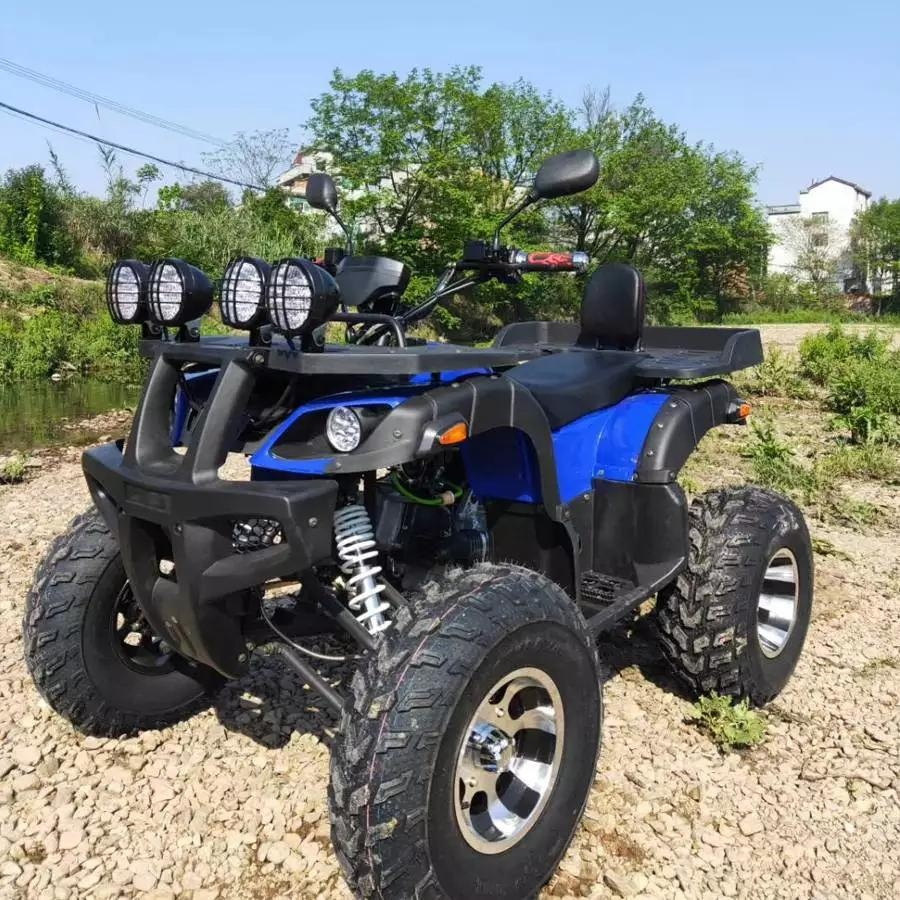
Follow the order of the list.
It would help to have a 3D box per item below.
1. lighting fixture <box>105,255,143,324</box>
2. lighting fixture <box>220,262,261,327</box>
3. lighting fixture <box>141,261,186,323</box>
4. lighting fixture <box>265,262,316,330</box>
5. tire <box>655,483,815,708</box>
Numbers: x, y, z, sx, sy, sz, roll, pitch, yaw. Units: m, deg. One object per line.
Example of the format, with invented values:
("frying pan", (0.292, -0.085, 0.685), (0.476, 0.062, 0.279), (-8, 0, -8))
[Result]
("lighting fixture", (-0.915, -0.447, 2.185), (0.105, 0.180, 0.167), (-3, 14, -21))
("lighting fixture", (-0.504, -0.378, 1.870), (0.118, 0.169, 0.047), (4, 14, 6))
("lighting fixture", (-0.760, -0.421, 2.065), (0.117, 0.166, 0.026), (9, 16, 26))
("lighting fixture", (-0.369, -0.350, 1.776), (0.124, 0.167, 0.042), (14, 19, 41))
("tire", (1.075, 0.572, 2.953), (0.443, 0.888, 1.045), (3, 1, 41))
